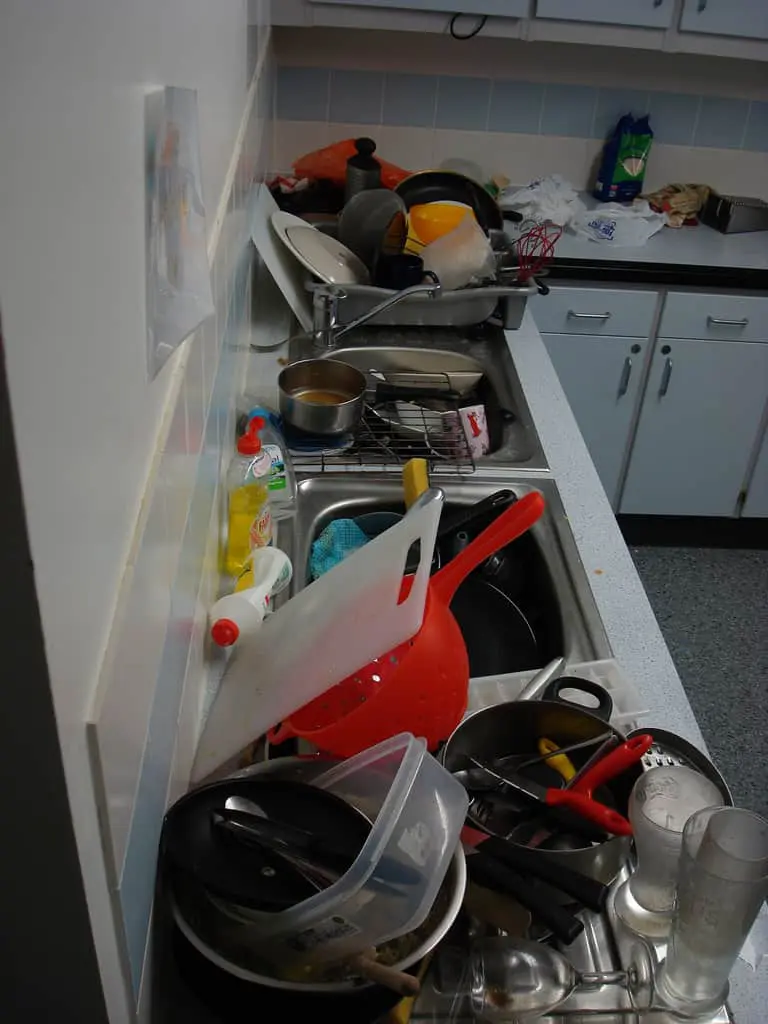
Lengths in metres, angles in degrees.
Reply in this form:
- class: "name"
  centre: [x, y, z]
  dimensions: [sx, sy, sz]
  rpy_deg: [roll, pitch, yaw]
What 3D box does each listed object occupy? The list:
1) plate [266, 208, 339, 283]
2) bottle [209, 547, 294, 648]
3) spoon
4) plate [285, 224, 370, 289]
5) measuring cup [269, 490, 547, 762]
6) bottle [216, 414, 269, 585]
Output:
- class: "plate"
  centre: [-0.182, -0.595, 1.566]
  dimensions: [0.133, 0.118, 0.260]
  rpy_deg: [-2, 29, -14]
- class: "bottle"
  centre: [-0.155, 0.101, 0.813]
  dimensions: [0.067, 0.073, 0.217]
  rpy_deg: [-8, 19, 9]
- class: "spoon"
  centre: [-0.063, 0.239, 0.477]
  dimensions: [0.093, 0.028, 0.041]
  rpy_deg: [23, 46, 23]
- class: "plate"
  centre: [-0.135, -0.588, 1.596]
  dimensions: [0.177, 0.039, 0.177]
  rpy_deg: [9, 45, -48]
- class: "measuring cup"
  centre: [0.019, 0.132, 0.785]
  dimensions: [0.276, 0.264, 0.288]
  rpy_deg: [3, 32, -2]
- class: "bottle"
  centre: [-0.176, -0.016, 0.955]
  dimensions: [0.078, 0.186, 0.081]
  rpy_deg: [1, 32, -1]
